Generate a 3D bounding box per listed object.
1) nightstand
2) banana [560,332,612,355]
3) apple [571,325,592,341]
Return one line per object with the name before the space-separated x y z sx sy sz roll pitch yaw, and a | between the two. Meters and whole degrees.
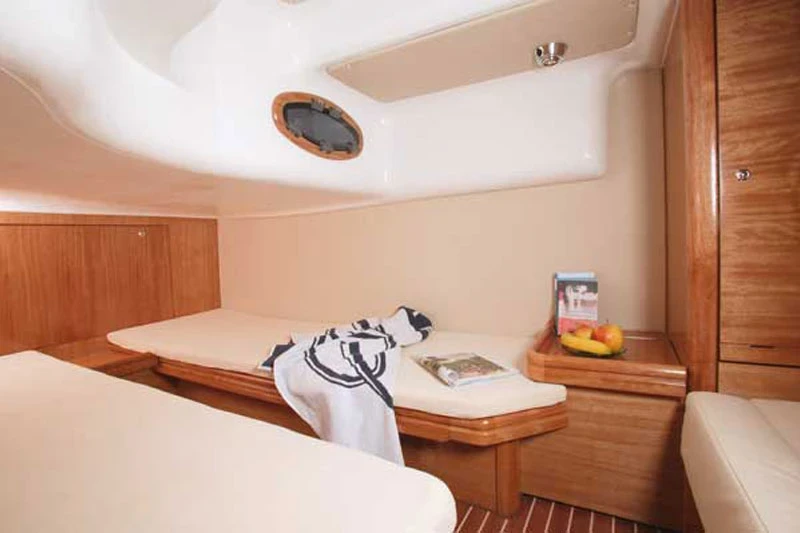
nightstand | 1.014 0.735 2.620 0.752 0.694 0.765 1 3 32
banana | 0.846 0.345 2.385 0.176 0.057 0.087 7 6 29
apple | 0.866 0.316 2.496 0.069 0.066 0.067 -24 0 -38
